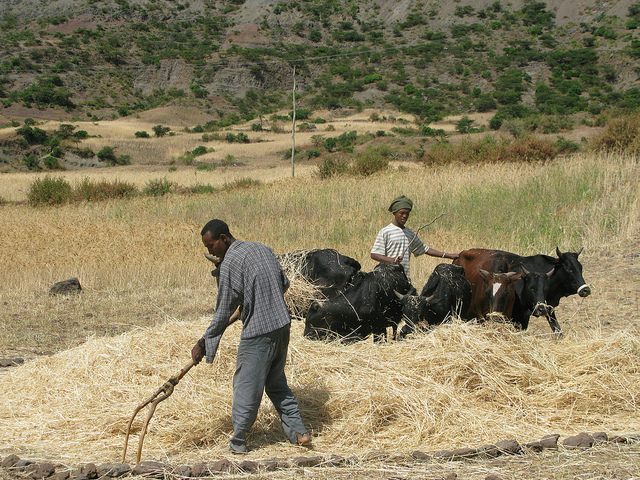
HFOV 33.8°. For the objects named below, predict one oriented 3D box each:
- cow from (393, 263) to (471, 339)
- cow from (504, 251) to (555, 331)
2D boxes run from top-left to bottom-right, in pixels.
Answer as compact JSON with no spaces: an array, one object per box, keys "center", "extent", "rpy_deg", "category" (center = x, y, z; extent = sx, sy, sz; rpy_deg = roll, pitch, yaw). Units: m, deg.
[{"center":[9.527,4.957,89.170],"extent":[8.686,4.930,3.474],"rpy_deg":[-25,9,-36],"category":"cow"},{"center":[17.677,4.505,88.703],"extent":[3.067,5.611,3.013],"rpy_deg":[1,10,-6],"category":"cow"}]
